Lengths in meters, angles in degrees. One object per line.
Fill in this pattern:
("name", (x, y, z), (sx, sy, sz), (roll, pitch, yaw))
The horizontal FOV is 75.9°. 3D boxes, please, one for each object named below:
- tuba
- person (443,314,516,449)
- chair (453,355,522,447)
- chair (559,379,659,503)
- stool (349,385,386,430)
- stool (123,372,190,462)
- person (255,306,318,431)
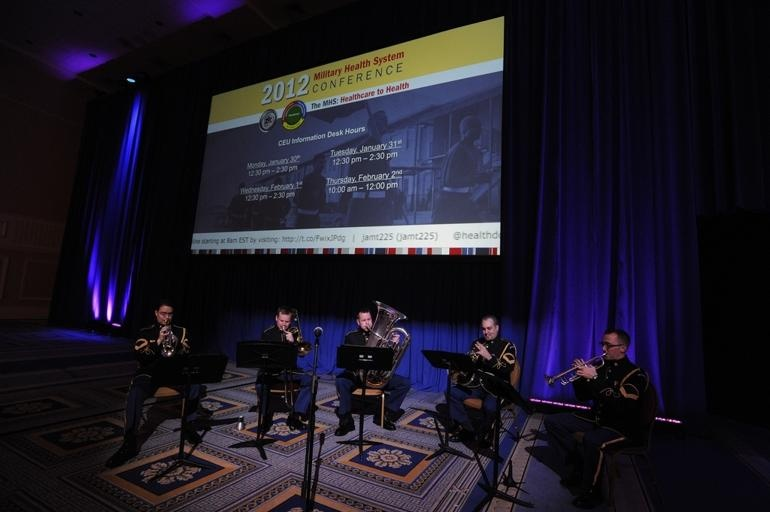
("tuba", (0.017, 1.596, 8.636), (0.645, 1.472, 0.796), (9, 1, -3))
("person", (1.638, 2.145, 8.677), (0.997, 2.147, 1.239), (6, 1, 6))
("chair", (1.659, 2.431, 8.242), (0.978, 1.519, 1.070), (8, 1, -7))
("chair", (3.313, 2.790, 7.445), (1.262, 1.761, 0.613), (3, -7, -5))
("stool", (-0.320, 2.708, 9.352), (0.608, 0.867, 0.806), (2, -13, 10))
("stool", (-3.703, 2.405, 7.737), (1.027, 1.353, 1.207), (6, 1, -21))
("person", (-1.722, 2.081, 8.736), (1.009, 2.368, 1.368), (9, -43, -23))
